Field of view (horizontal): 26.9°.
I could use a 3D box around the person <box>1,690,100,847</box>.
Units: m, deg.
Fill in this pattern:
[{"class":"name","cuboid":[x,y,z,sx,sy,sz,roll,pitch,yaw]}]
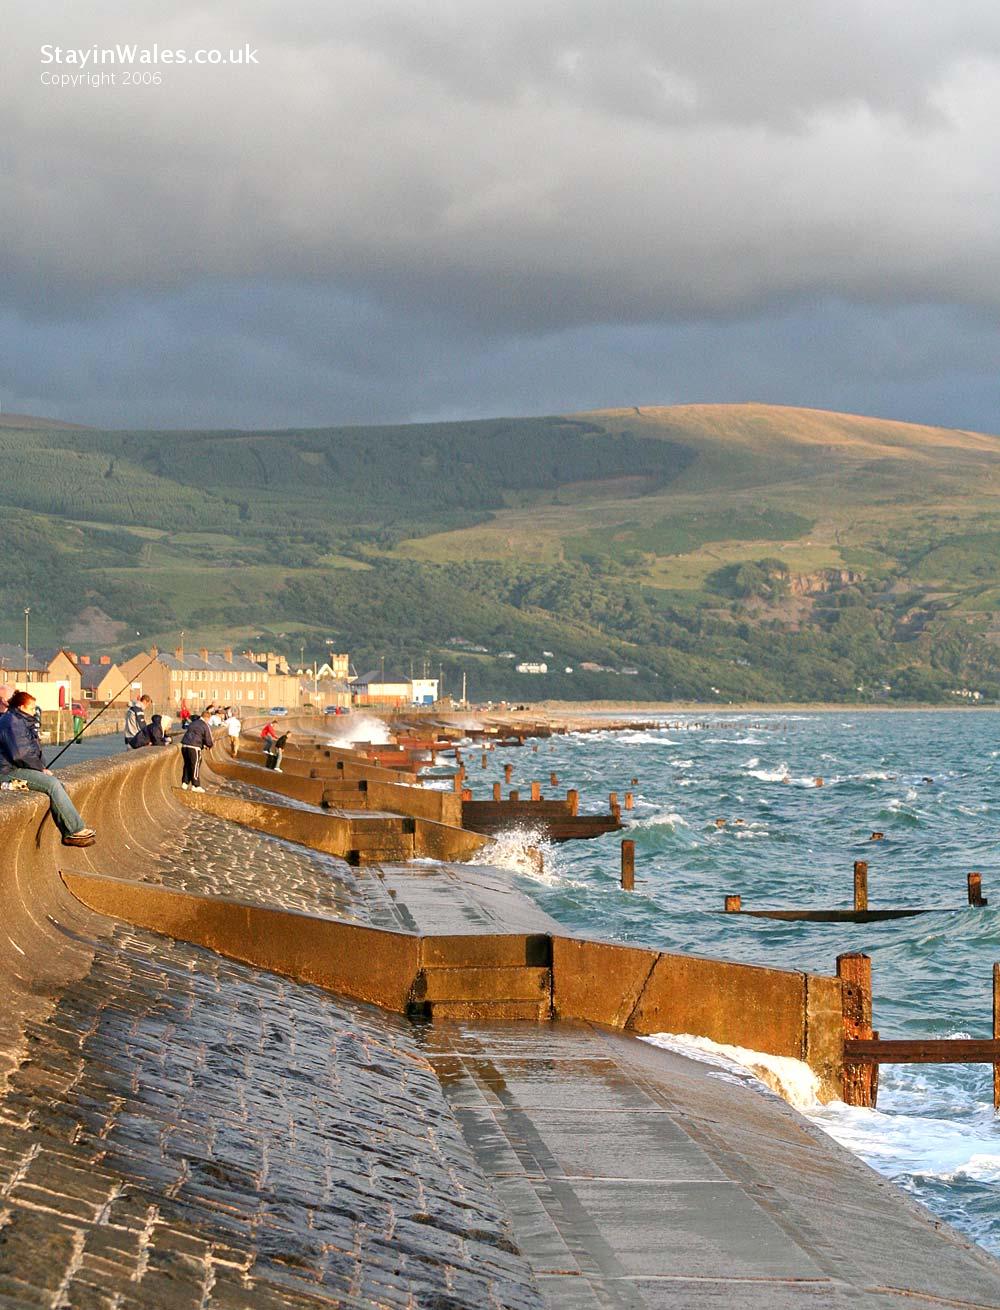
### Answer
[{"class":"person","cuboid":[-3.584,0.900,16.371,0.693,1.308,0.754,0,-3,-5]}]
